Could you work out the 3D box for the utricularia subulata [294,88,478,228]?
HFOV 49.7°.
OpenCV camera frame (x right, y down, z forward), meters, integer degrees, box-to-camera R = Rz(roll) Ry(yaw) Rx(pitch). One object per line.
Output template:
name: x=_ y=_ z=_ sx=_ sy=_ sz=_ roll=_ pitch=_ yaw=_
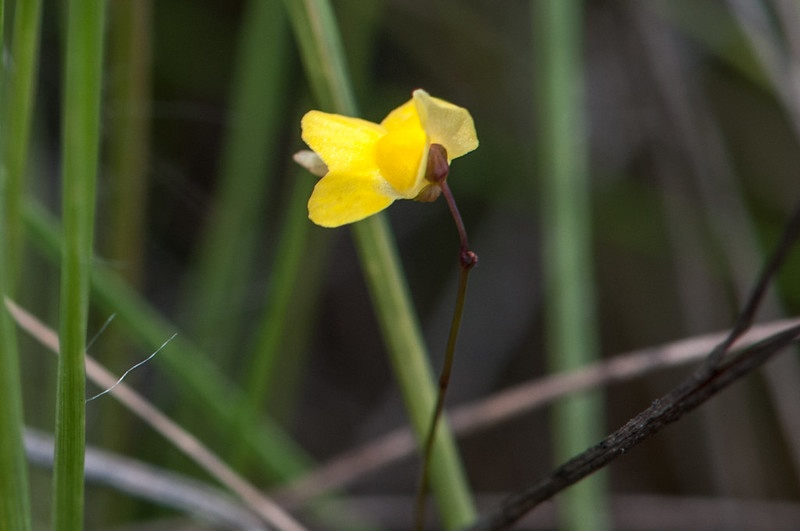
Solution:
utricularia subulata: x=-0.016 y=-0.141 z=1.262 sx=0.193 sy=0.212 sz=0.102 roll=-10 pitch=-22 yaw=-8
